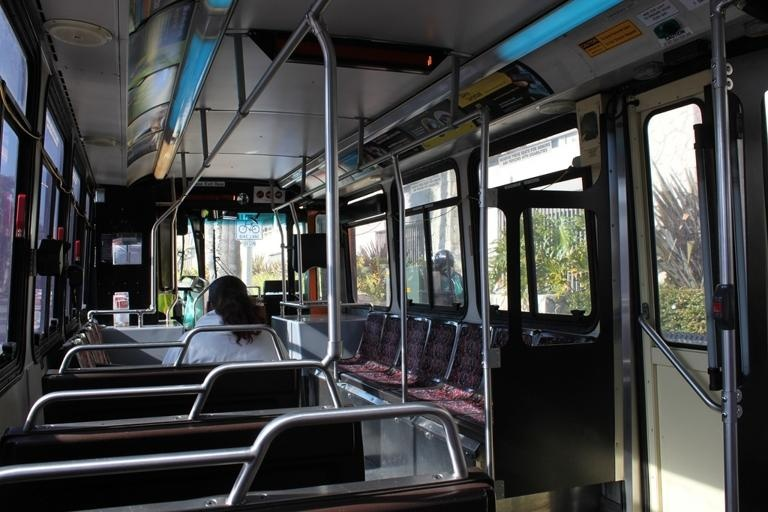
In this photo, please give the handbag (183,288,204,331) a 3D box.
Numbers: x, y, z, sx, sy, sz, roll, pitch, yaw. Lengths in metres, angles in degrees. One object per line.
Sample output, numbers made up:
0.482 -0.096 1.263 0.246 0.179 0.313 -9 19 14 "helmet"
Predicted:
-3.444 0.942 9.500 0.427 0.644 0.396 -14 -21 22 "handbag"
